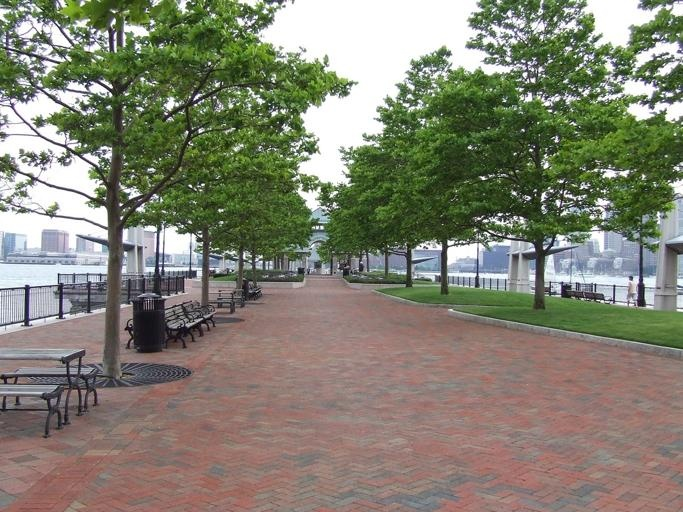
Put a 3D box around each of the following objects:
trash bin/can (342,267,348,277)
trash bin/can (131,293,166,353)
[{"bbox_3d":[0.680,2.428,78.332,0.948,1.589,0.905,-1,3,-3],"label":"trash bin/can"},{"bbox_3d":[-4.743,1.654,13.874,0.717,1.515,0.969,0,3,-19],"label":"trash bin/can"}]
